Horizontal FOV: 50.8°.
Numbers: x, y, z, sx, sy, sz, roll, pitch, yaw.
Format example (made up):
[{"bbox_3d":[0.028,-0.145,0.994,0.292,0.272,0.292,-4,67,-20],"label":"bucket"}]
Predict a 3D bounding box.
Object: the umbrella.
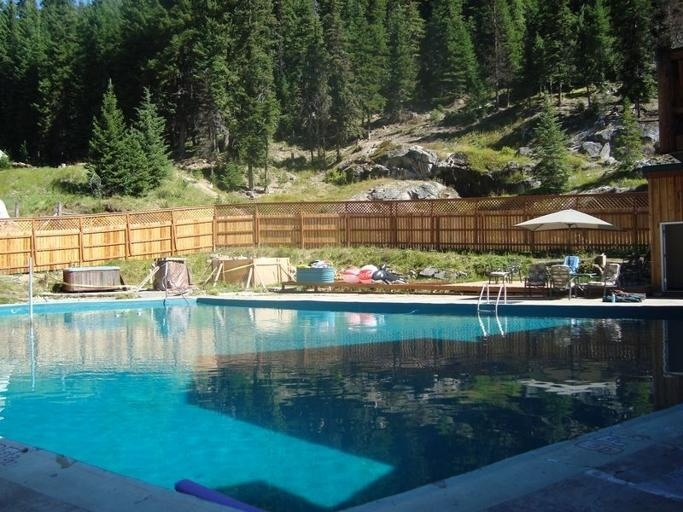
[{"bbox_3d":[6.378,-0.787,20.213,1.739,1.109,2.184,-4,2,-33],"label":"umbrella"}]
